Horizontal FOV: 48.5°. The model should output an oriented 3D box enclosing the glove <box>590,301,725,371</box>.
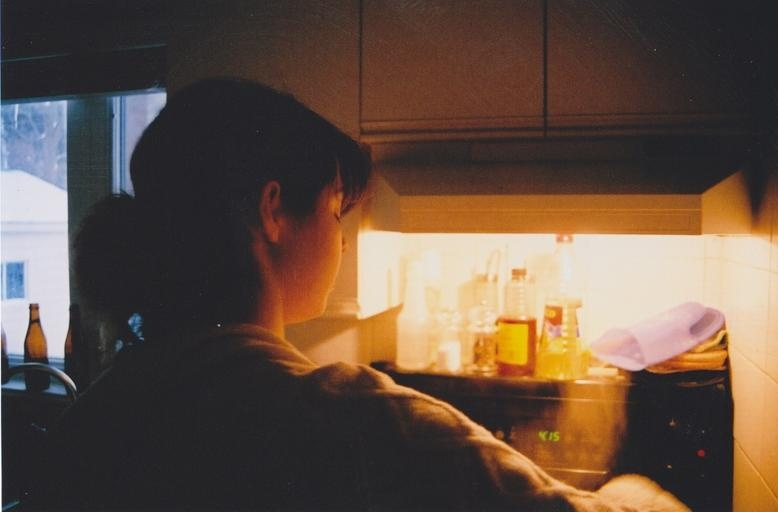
[{"bbox_3d":[0.744,0.225,2.370,0.308,0.066,0.173,-23,27,-1],"label":"glove"}]
